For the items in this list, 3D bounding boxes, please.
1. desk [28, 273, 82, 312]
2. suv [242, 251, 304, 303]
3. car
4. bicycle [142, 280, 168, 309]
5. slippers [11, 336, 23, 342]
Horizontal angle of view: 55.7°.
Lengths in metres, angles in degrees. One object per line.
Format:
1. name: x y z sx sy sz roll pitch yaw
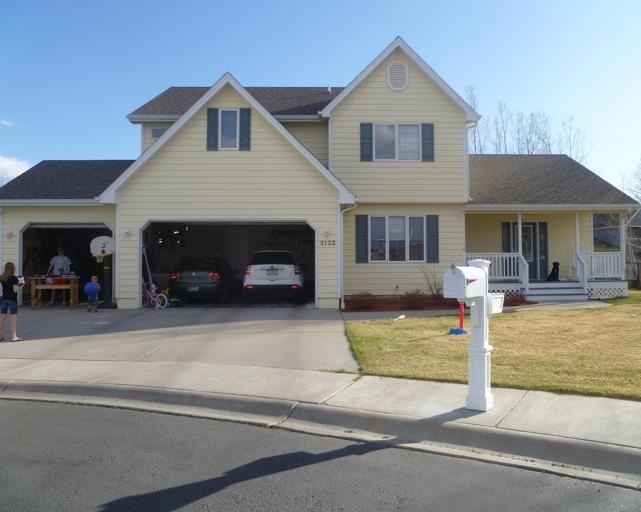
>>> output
1. desk: -7.997 1.044 18.264 1.299 0.910 0.735 -1 1 -13
2. suv: -1.428 0.670 18.333 1.643 1.484 3.081 0 1 -3
3. car: -3.805 0.828 19.617 1.625 1.813 3.049 0 9 4
4. bicycle: -4.944 1.174 18.220 0.598 1.029 0.504 3 20 7
5. slippers: -6.250 1.706 12.487 0.194 0.079 0.108 -3 0 -7
